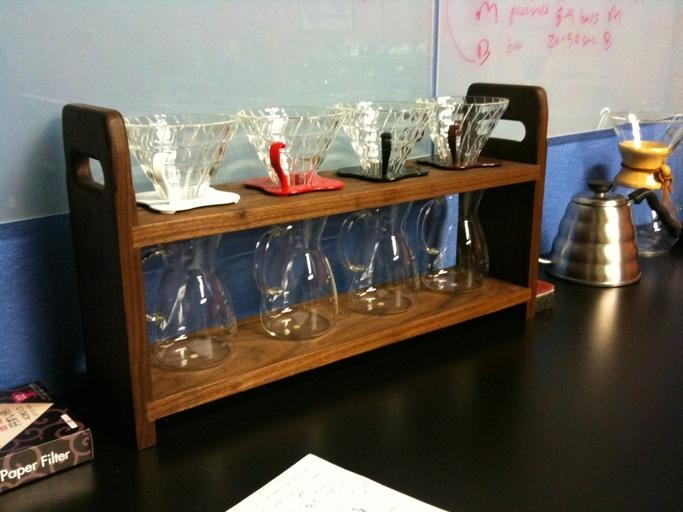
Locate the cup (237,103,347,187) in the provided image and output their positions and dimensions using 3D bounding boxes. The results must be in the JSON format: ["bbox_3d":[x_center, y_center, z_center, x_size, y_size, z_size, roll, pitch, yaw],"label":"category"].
[{"bbox_3d":[-0.117,-0.213,1.095,0.211,0.150,0.185,-3,9,-9],"label":"cup"}]

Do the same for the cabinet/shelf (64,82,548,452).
[{"bbox_3d":[0.007,-0.040,1.222,1.070,0.597,0.290,-12,21,-33],"label":"cabinet/shelf"}]

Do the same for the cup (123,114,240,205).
[{"bbox_3d":[-0.297,-0.177,0.995,0.180,0.142,0.208,-5,18,-16],"label":"cup"}]

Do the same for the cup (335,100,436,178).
[{"bbox_3d":[0.088,-0.250,1.202,0.191,0.161,0.223,13,21,39],"label":"cup"}]

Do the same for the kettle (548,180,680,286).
[{"bbox_3d":[0.760,-0.078,1.607,0.391,0.233,0.253,-3,14,-13],"label":"kettle"}]
